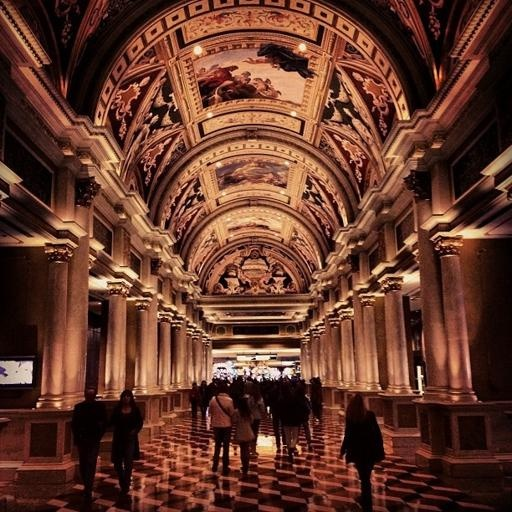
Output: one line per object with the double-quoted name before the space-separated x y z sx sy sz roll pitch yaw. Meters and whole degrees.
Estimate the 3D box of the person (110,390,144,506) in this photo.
"person" -2.015 2.908 6.805 0.455 1.558 0.671 2 -20 -6

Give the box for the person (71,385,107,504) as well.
"person" -2.532 2.807 6.544 0.492 1.610 0.493 6 -21 -18
